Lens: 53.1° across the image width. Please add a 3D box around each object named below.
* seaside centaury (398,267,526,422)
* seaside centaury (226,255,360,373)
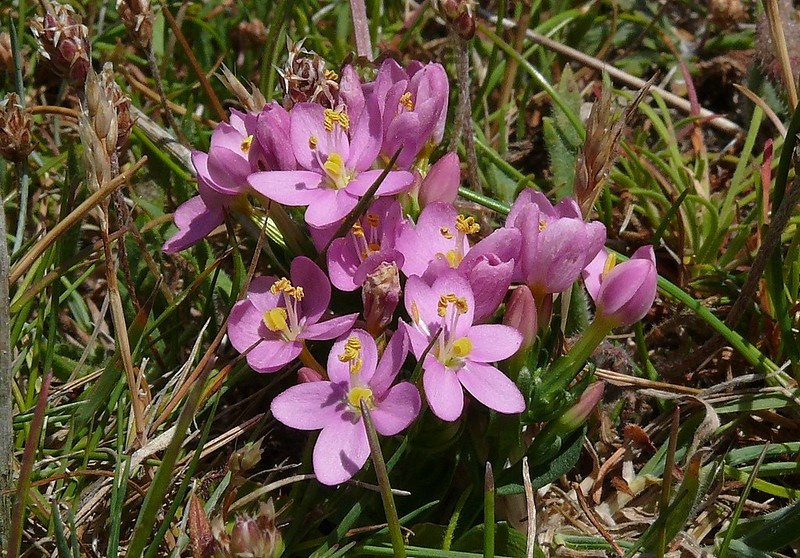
[{"bbox_3d":[0.170,0.159,2.068,0.294,0.163,0.379,-13,52,-2],"label":"seaside centaury"},{"bbox_3d":[-0.316,0.104,2.178,0.253,0.204,0.383,1,73,7],"label":"seaside centaury"}]
